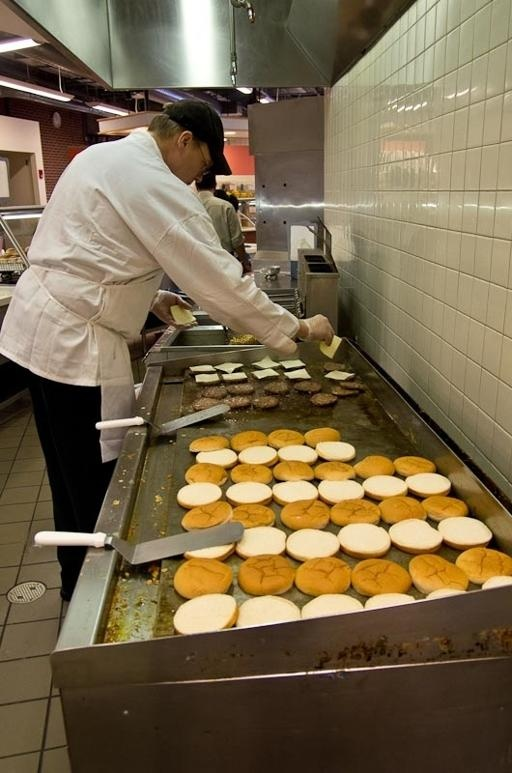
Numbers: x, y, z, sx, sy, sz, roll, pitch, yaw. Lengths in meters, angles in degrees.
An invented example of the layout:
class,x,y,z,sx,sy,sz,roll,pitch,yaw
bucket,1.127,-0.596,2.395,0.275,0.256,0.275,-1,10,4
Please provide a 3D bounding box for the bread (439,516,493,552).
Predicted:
class,x,y,z,sx,sy,sz,roll,pitch,yaw
bread,0.416,0.290,1.052,0.099,0.026,0.110,5,22,19

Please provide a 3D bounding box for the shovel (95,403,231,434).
class,x,y,z,sx,sy,sz,roll,pitch,yaw
shovel,-0.296,0.104,1.667,0.286,0.052,0.083,-2,13,-27

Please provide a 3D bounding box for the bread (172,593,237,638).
class,x,y,z,sx,sy,sz,roll,pitch,yaw
bread,-0.079,0.359,0.841,0.101,0.038,0.109,-5,21,-7

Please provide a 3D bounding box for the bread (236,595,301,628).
class,x,y,z,sx,sy,sz,roll,pitch,yaw
bread,0.021,0.360,0.859,0.103,0.023,0.079,-2,20,1

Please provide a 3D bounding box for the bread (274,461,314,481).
class,x,y,z,sx,sy,sz,roll,pitch,yaw
bread,0.100,0.226,1.387,0.107,0.030,0.085,5,22,19

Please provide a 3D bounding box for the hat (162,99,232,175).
class,x,y,z,sx,sy,sz,roll,pitch,yaw
hat,-0.162,-0.791,1.684,0.294,0.172,0.211,1,23,-7

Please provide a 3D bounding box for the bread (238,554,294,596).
class,x,y,z,sx,sy,sz,roll,pitch,yaw
bread,0.021,0.341,0.960,0.103,0.031,0.105,-2,20,3

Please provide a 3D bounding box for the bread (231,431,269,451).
class,x,y,z,sx,sy,sz,roll,pitch,yaw
bread,-0.022,0.158,1.582,0.066,0.033,0.064,-10,11,-30

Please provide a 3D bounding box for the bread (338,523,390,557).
class,x,y,z,sx,sy,sz,roll,pitch,yaw
bread,0.215,0.307,1.058,0.102,0.027,0.107,7,22,23

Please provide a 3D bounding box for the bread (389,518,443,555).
class,x,y,z,sx,sy,sz,roll,pitch,yaw
bread,0.318,0.299,1.060,0.098,0.022,0.103,-11,22,-21
